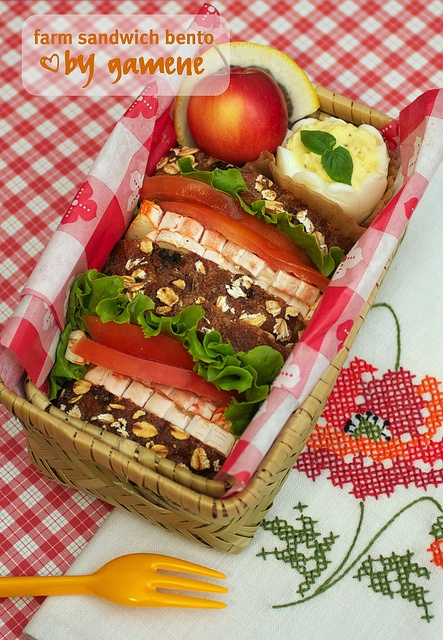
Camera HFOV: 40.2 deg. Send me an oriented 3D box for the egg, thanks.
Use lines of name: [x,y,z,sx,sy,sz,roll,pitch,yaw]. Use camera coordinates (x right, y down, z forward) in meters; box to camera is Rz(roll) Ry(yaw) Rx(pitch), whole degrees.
egg: [0.203,-0.269,1.122,0.190,0.162,0.189,-40,82,-8]
